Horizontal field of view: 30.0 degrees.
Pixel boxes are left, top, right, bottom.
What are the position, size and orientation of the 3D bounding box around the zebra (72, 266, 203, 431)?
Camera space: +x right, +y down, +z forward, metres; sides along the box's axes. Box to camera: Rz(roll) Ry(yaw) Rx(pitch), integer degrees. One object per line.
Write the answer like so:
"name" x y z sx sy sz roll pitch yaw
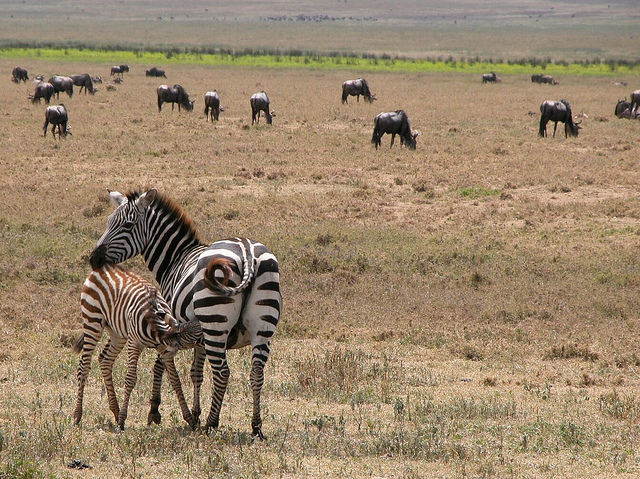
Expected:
"zebra" -5.425 3.758 37.193 3.223 5.401 4.124 -6 17 -26
